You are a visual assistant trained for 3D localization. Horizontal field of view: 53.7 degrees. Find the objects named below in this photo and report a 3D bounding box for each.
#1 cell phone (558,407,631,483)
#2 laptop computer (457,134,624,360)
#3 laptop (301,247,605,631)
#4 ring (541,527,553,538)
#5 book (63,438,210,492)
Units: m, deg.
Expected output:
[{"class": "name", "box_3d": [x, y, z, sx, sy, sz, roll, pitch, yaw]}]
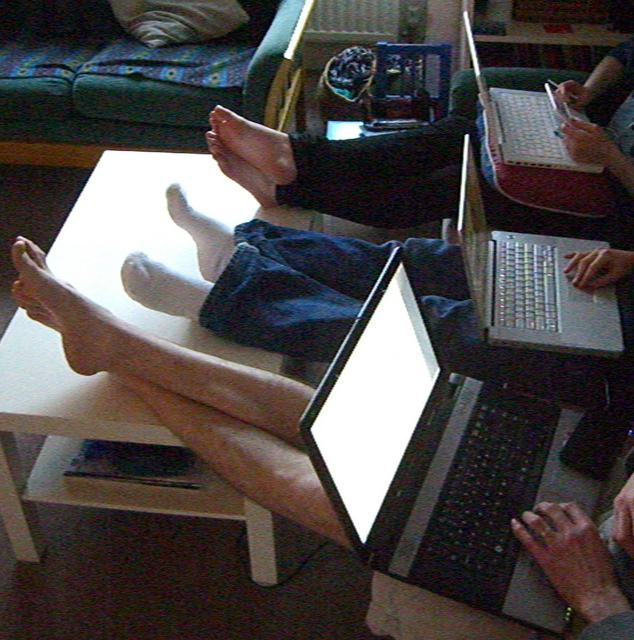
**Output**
[{"class": "cell phone", "box_3d": [0.180, 0.080, 0.411, 0.046, 0.012, 0.060, 23, 52, 31]}, {"class": "laptop computer", "box_3d": [0.205, -0.053, 0.518, 0.148, 0.101, 0.139, 14, 56, -1]}, {"class": "laptop", "box_3d": [0.125, 0.085, 0.373, 0.227, 0.122, 0.178, 12, 54, -14]}, {"class": "ring", "box_3d": [0.133, 0.123, 0.362, 0.001, 0.005, 0.005, 38, 105, 7]}, {"class": "book", "box_3d": [-0.181, 0.146, 0.621, 0.130, 0.009, 0.070, 4, 25, 1]}]
